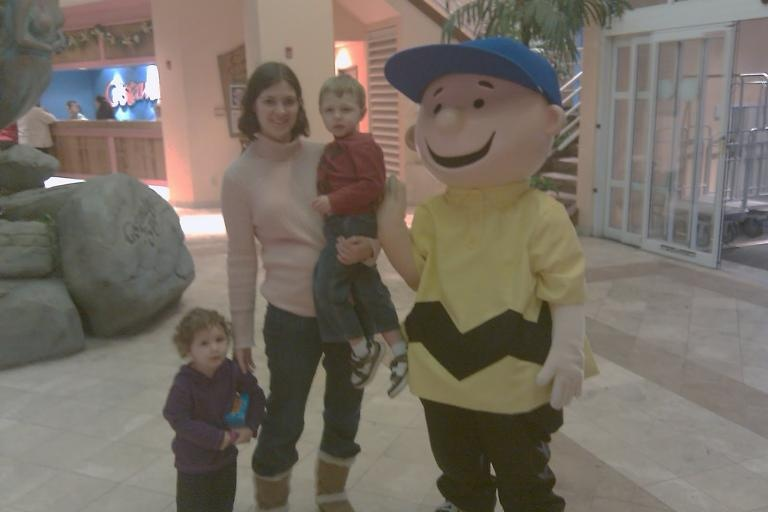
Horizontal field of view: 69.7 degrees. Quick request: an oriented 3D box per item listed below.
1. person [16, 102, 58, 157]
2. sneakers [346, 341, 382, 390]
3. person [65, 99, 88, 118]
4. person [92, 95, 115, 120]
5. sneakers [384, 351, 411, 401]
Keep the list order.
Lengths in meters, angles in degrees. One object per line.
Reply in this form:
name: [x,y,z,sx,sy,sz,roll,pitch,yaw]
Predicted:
person: [-8.445,-3.099,13.393,0.747,1.178,1.869,-6,13,-17]
sneakers: [-0.106,0.567,2.927,0.164,0.266,0.127,4,24,-31]
person: [-8.636,-4.090,15.393,0.310,0.568,1.251,-9,15,-30]
person: [-7.987,-4.256,15.748,0.484,0.658,0.694,-8,14,-24]
sneakers: [0.080,0.606,2.843,0.102,0.082,0.242,24,59,-1]
